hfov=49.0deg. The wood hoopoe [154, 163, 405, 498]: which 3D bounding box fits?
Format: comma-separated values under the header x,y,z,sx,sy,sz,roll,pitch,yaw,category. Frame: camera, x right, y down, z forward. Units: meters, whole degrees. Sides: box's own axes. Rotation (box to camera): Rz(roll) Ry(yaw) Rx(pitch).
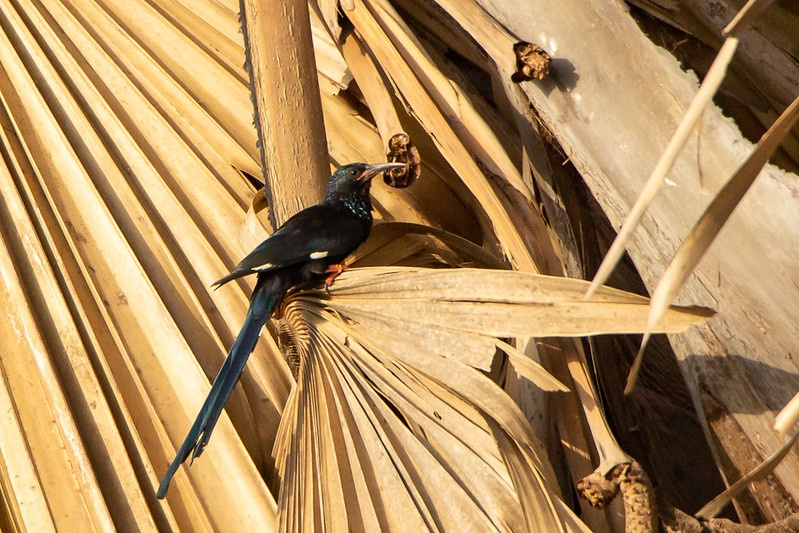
x,y,z,sx,sy,sz,roll,pitch,yaw,category
-0.485,0.096,3.473,1.422,0.660,0.382,-35,17,-36,wood hoopoe
